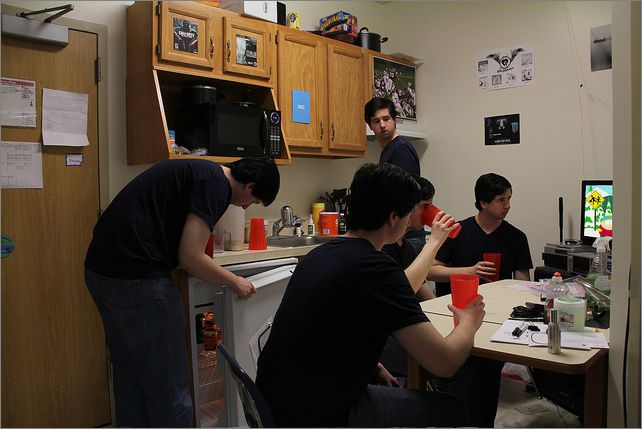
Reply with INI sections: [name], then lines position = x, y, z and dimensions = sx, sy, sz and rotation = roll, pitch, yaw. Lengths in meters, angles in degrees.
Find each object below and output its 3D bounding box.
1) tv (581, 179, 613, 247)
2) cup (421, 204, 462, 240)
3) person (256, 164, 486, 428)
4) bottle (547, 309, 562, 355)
[tv]
position = 2.247, -0.015, 3.577
dimensions = 0.176, 0.531, 0.360
rotation = 0, 4, -6
[cup]
position = 0.655, 0.026, 2.396
dimensions = 0.160, 0.178, 0.198
rotation = 24, 8, 14
[person]
position = 0.166, 0.341, 1.732
dimensions = 0.829, 1.083, 0.252
rotation = 0, 4, -9
[bottle]
position = 0.989, 0.487, 1.867
dimensions = 0.048, 0.180, 0.094
rotation = 3, 5, 27
